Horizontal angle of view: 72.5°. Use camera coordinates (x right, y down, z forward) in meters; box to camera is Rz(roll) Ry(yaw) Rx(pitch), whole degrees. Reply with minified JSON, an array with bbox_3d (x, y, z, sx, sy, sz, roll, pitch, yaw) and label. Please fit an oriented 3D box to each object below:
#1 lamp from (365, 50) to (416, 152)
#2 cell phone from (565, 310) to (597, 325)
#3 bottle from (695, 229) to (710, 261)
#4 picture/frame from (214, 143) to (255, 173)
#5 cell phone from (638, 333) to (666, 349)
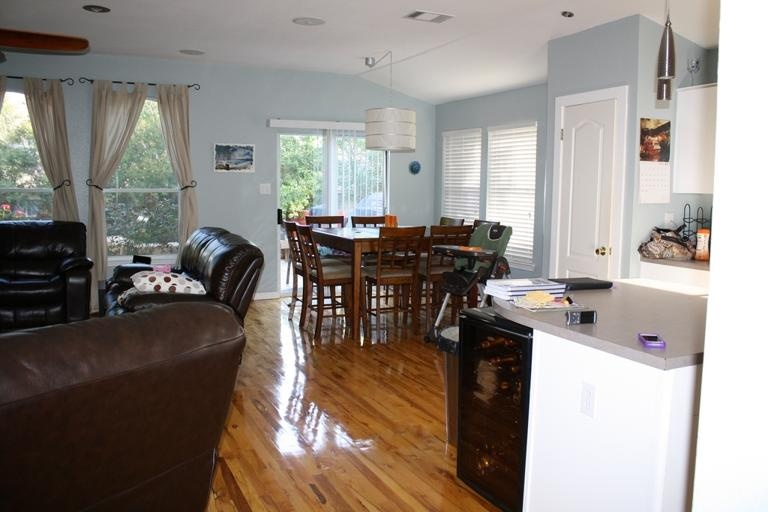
[{"bbox_3d":[0.031,-1.722,5.846,0.589,0.997,0.582,-11,15,-42],"label":"lamp"},{"bbox_3d":[0.914,0.281,2.419,0.178,0.061,0.089,-10,14,-41],"label":"cell phone"},{"bbox_3d":[2.852,-0.092,4.696,0.094,0.262,0.188,4,12,22],"label":"bottle"},{"bbox_3d":[-2.027,-1.306,7.039,0.517,0.369,0.071,-4,12,-19],"label":"picture/frame"},{"bbox_3d":[1.104,0.346,2.177,0.083,0.034,0.135,0,10,2],"label":"cell phone"}]
